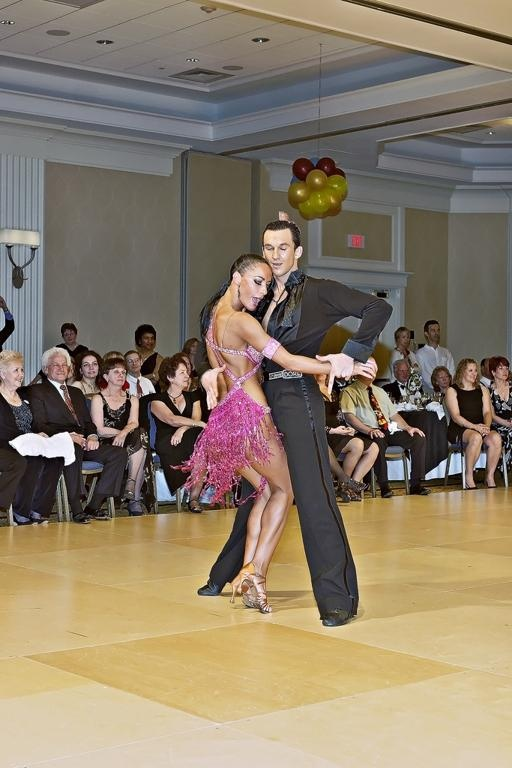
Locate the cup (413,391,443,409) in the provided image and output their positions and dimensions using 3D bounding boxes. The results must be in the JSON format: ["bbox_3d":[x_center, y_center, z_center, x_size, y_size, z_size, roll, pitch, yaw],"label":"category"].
[{"bbox_3d":[2.255,0.223,8.390,0.182,0.280,0.303,11,-22,-43],"label":"cup"}]

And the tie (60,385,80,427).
[{"bbox_3d":[-1.735,0.161,5.920,0.059,0.473,0.100,-31,-16,35],"label":"tie"}]

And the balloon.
[{"bbox_3d":[0.748,-2.317,7.900,0.846,0.701,0.756,-3,6,-2],"label":"balloon"}]

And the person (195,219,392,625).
[{"bbox_3d":[0.176,0.091,2.822,0.352,1.272,0.761,1,2,-42],"label":"person"}]

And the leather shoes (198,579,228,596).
[{"bbox_3d":[-0.214,0.987,3.150,0.132,0.050,0.070,2,-3,23],"label":"leather shoes"}]

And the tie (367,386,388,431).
[{"bbox_3d":[1.403,0.295,7.536,0.149,0.627,0.086,-15,-24,-12],"label":"tie"}]

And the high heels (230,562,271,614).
[{"bbox_3d":[-0.017,0.925,2.875,0.103,0.147,0.300,25,-19,-21],"label":"high heels"}]

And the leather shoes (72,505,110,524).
[{"bbox_3d":[-1.483,1.161,5.733,0.325,0.090,0.119,-9,-10,36],"label":"leather shoes"}]

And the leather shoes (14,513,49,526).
[{"bbox_3d":[-1.883,1.118,5.391,0.199,0.099,0.262,3,1,42],"label":"leather shoes"}]

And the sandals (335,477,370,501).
[{"bbox_3d":[1.065,1.119,6.814,0.472,0.187,0.148,-3,3,6],"label":"sandals"}]

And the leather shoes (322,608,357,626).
[{"bbox_3d":[0.342,0.950,2.629,0.057,0.059,0.155,-7,-16,44],"label":"leather shoes"}]

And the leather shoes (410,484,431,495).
[{"bbox_3d":[1.904,1.213,7.435,0.095,0.105,0.262,2,1,43],"label":"leather shoes"}]

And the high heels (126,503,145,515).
[{"bbox_3d":[-1.139,1.174,6.102,0.142,0.132,0.304,2,1,-15],"label":"high heels"}]

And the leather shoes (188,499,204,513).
[{"bbox_3d":[-0.593,1.173,6.220,0.176,0.130,0.458,1,-4,-11],"label":"leather shoes"}]

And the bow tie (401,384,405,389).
[{"bbox_3d":[1.968,0.029,8.617,0.062,0.054,0.019,-3,-12,3],"label":"bow tie"}]
